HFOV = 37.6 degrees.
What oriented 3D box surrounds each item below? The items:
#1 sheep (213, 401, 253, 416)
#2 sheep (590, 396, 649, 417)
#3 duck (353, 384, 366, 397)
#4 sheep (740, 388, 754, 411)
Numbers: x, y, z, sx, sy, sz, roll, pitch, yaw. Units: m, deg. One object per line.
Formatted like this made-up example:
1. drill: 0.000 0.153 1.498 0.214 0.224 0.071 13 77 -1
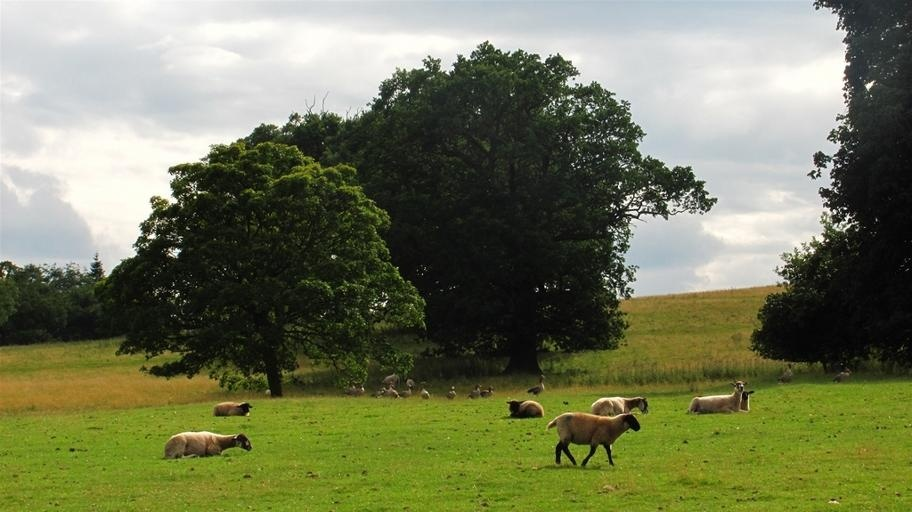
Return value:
1. sheep: -16.697 11.437 99.649 2.488 1.082 1.127 -2 -9 6
2. sheep: 11.497 10.778 96.837 4.786 2.107 1.433 -1 5 -4
3. duck: -8.230 11.716 115.136 1.200 1.090 0.706 -4 3 -35
4. sheep: 21.446 10.723 98.918 1.149 1.471 0.780 7 4 -43
